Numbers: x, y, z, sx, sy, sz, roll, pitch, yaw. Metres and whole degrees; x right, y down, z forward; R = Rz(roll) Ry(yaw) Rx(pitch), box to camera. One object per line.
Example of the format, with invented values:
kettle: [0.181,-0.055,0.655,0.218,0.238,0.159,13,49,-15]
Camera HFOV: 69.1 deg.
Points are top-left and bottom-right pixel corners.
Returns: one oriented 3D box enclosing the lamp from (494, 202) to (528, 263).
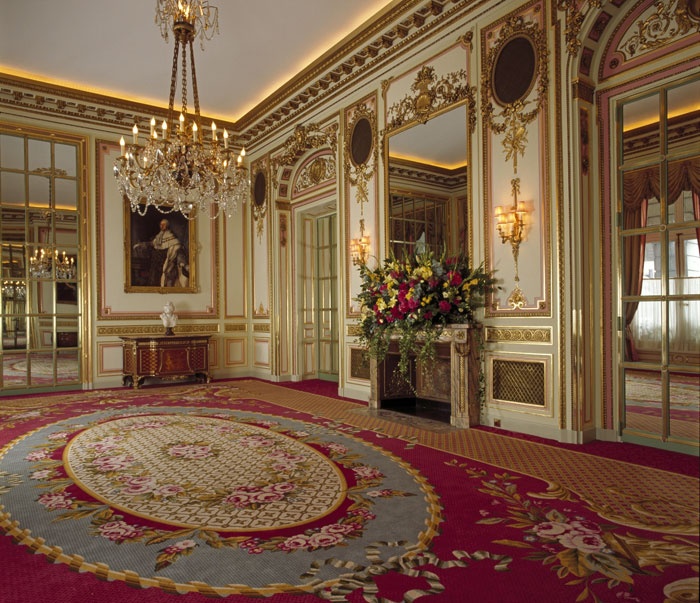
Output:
lamp: [1.591,-0.711,5.029,0.102,0.574,0.423,0,-1,-39]

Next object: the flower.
flower: [0.816,0.092,5.648,0.601,1.351,1.678,0,0,-42]
